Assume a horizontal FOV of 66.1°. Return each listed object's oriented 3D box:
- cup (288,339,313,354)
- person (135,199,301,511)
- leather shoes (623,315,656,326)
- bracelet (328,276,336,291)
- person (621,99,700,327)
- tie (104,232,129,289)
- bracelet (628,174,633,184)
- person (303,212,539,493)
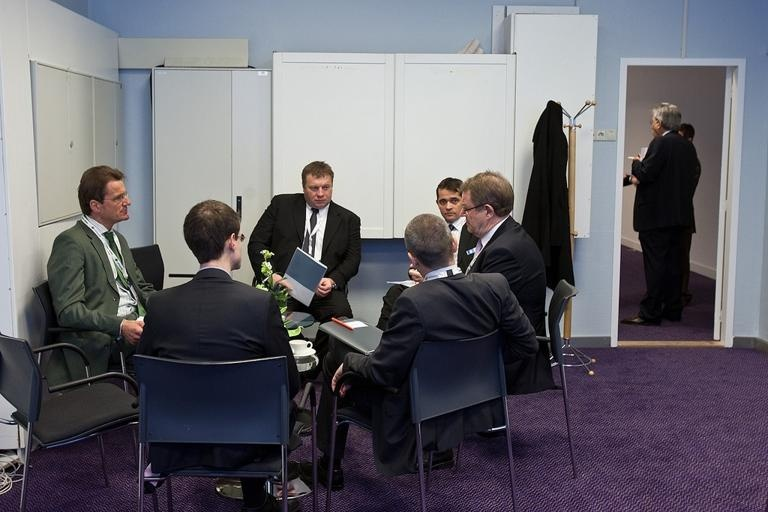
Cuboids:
[{"bbox_3d":[-0.532,0.576,3.844,0.166,0.086,0.119,2,2,-5],"label":"cup"},{"bbox_3d":[-0.855,0.676,3.095,0.816,1.859,0.490,-2,14,-8],"label":"person"},{"bbox_3d":[2.893,0.719,6.656,0.348,0.152,0.134,-4,1,12],"label":"leather shoes"},{"bbox_3d":[-0.427,0.221,5.016,0.052,0.072,0.075,11,-10,10],"label":"bracelet"},{"bbox_3d":[3.060,-0.451,6.517,0.712,2.371,0.533,5,15,19],"label":"person"},{"bbox_3d":[-1.905,0.022,4.225,0.078,0.353,0.233,-10,3,38],"label":"tie"},{"bbox_3d":[2.732,-0.859,6.509,0.026,0.082,0.056,3,-7,-14],"label":"bracelet"},{"bbox_3d":[0.322,0.338,3.943,1.092,1.986,1.441,-7,14,-26],"label":"person"}]
